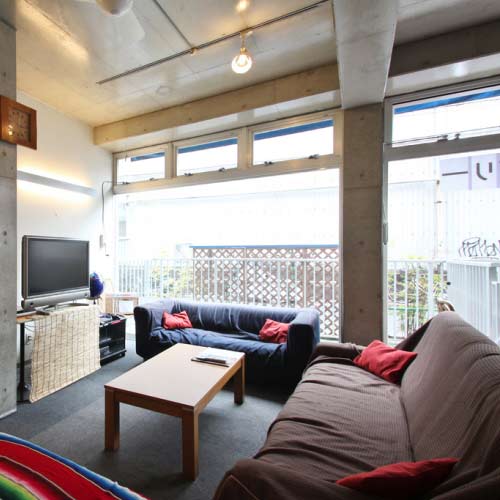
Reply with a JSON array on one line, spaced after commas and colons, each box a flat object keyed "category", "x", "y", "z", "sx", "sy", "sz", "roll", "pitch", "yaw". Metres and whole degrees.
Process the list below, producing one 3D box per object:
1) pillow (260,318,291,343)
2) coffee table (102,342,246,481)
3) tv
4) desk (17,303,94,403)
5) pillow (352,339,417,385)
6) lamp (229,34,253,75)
[{"category": "pillow", "x": 0.212, "y": 0.733, "z": 3.732, "sx": 0.209, "sy": 0.070, "sz": 0.226, "roll": -6, "pitch": 15, "yaw": 20}, {"category": "coffee table", "x": -0.513, "y": 0.900, "z": 2.637, "sx": 0.531, "sy": 0.354, "sz": 0.832, "roll": 2, "pitch": 4, "yaw": 18}, {"category": "tv", "x": -1.643, "y": 0.180, "z": 3.556, "sx": 0.092, "sy": 0.558, "sz": 0.732, "roll": 0, "pitch": 0, "yaw": 18}, {"category": "desk", "x": -1.550, "y": 0.833, "z": 3.320, "sx": 0.253, "sy": 0.603, "sz": 0.679, "roll": -4, "pitch": -2, "yaw": 17}, {"category": "pillow", "x": 0.890, "y": 0.804, "z": 2.720, "sx": 0.168, "sy": 0.161, "sz": 0.404, "roll": 6, "pitch": -6, "yaw": -14}, {"category": "lamp", "x": -0.044, "y": -1.319, "z": 2.807, "sx": 0.153, "sy": 0.285, "sz": 0.166, "roll": -5, "pitch": 10, "yaw": -32}]
